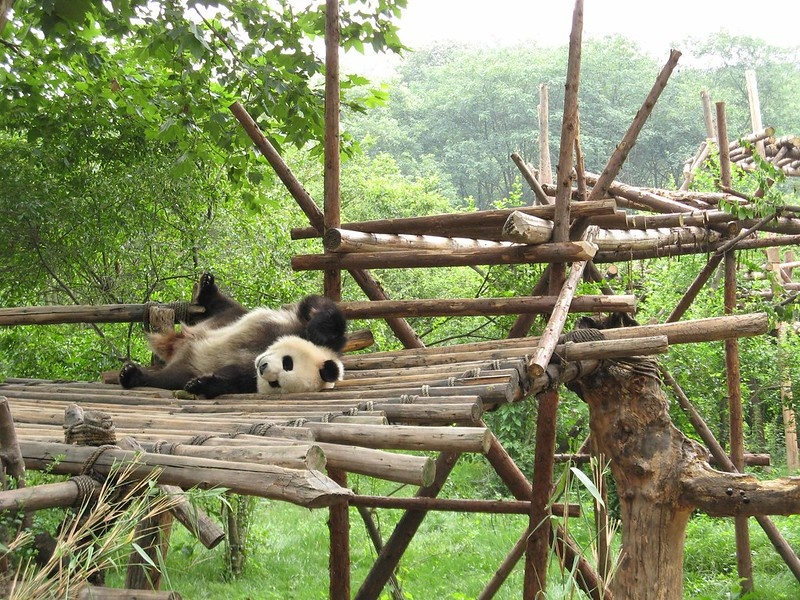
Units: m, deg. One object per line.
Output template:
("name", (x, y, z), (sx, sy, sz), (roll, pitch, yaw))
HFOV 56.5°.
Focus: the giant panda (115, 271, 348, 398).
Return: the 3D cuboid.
("giant panda", (-1.290, 0.406, 5.972), (1.588, 0.844, 1.003), (-18, -44, 32))
